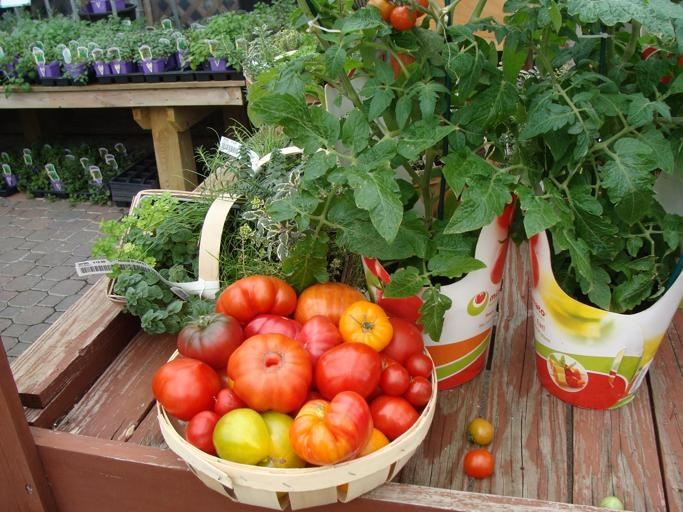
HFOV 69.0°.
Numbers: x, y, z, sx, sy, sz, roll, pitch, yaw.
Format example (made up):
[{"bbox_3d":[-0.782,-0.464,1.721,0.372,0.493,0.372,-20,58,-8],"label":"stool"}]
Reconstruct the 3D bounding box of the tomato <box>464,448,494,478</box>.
[{"bbox_3d":[0.331,0.500,1.194,0.065,0.068,0.071,-5,3,27],"label":"tomato"}]

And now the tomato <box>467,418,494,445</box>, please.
[{"bbox_3d":[0.354,0.449,1.266,0.041,0.042,0.040,34,0,-21],"label":"tomato"}]
